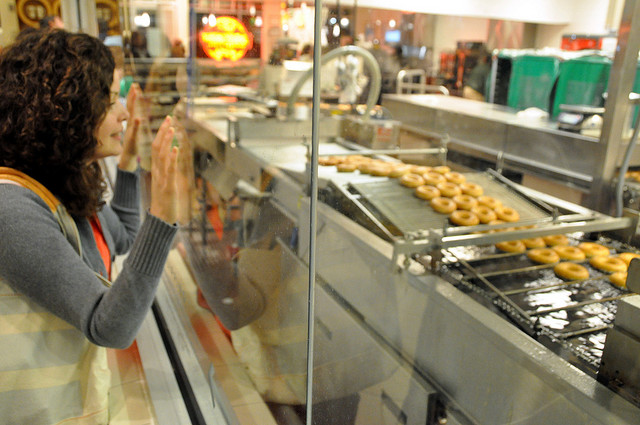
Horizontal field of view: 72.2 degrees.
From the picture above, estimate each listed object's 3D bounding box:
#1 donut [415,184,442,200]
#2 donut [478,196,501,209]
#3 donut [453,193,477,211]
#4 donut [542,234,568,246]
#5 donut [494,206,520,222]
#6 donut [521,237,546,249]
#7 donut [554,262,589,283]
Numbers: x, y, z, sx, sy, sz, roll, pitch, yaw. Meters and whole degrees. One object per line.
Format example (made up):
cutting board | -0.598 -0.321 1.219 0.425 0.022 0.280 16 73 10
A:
donut | 0.191 -0.040 0.778 0.030 0.010 0.028 19 26 40
donut | 0.275 -0.018 0.714 0.022 0.007 0.021 12 13 2
donut | 0.244 -0.019 0.738 0.028 0.010 0.027 -1 24 -1
donut | 0.370 0.042 0.685 0.024 0.008 0.023 -5 13 -9
donut | 0.303 0.001 0.700 0.026 0.009 0.026 7 22 -9
donut | 0.339 0.048 0.692 0.021 0.007 0.021 -2 14 0
donut | 0.386 0.091 0.680 0.034 0.012 0.034 -1 17 -8
